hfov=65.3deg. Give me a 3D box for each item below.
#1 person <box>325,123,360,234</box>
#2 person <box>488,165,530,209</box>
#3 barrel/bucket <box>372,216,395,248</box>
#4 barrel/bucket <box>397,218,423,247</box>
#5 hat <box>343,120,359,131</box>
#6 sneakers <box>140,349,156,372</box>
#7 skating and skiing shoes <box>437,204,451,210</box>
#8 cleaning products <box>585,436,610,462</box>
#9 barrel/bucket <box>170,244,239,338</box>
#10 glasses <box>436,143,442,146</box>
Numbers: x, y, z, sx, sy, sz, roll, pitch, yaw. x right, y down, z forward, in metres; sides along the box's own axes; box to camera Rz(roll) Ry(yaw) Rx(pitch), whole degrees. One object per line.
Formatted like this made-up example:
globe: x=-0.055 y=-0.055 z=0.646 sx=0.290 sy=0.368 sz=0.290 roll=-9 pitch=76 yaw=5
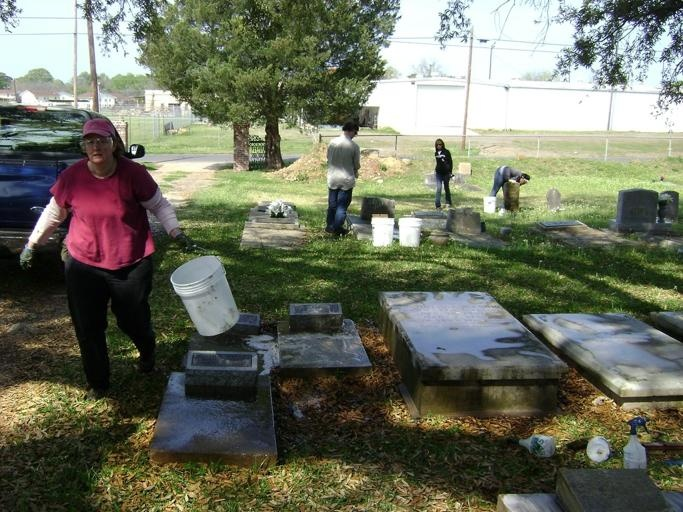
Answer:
person: x=0.002 y=-1.460 z=10.156 sx=0.643 sy=2.137 sz=0.737 roll=-1 pitch=17 yaw=-2
person: x=4.930 y=-2.080 z=15.562 sx=0.933 sy=0.963 sz=0.650 roll=20 pitch=33 yaw=13
barrel/bucket: x=0.728 y=-0.411 z=9.440 sx=0.374 sy=0.465 sz=0.433 roll=0 pitch=16 yaw=3
barrel/bucket: x=1.199 y=-0.396 z=9.526 sx=0.530 sy=0.482 sz=0.483 roll=0 pitch=5 yaw=0
hat: x=0.175 y=-2.381 z=9.839 sx=0.260 sy=0.193 sz=0.359 roll=-2 pitch=16 yaw=-5
sneakers: x=-1.629 y=0.887 z=4.457 sx=0.133 sy=0.187 sz=0.203 roll=3 pitch=24 yaw=-13
skating and skiing shoes: x=2.946 y=-1.392 z=15.377 sx=0.218 sy=0.248 sz=0.670 roll=-3 pitch=4 yaw=3
cleaning products: x=1.693 y=1.294 z=3.507 sx=0.123 sy=0.168 sz=0.119 roll=-6 pitch=17 yaw=-17
barrel/bucket: x=-1.164 y=0.420 z=4.685 sx=0.485 sy=0.508 sz=0.486 roll=-17 pitch=6 yaw=2
glasses: x=2.728 y=-3.088 z=14.877 sx=0.111 sy=0.096 sz=0.032 roll=-6 pitch=-3 yaw=0
